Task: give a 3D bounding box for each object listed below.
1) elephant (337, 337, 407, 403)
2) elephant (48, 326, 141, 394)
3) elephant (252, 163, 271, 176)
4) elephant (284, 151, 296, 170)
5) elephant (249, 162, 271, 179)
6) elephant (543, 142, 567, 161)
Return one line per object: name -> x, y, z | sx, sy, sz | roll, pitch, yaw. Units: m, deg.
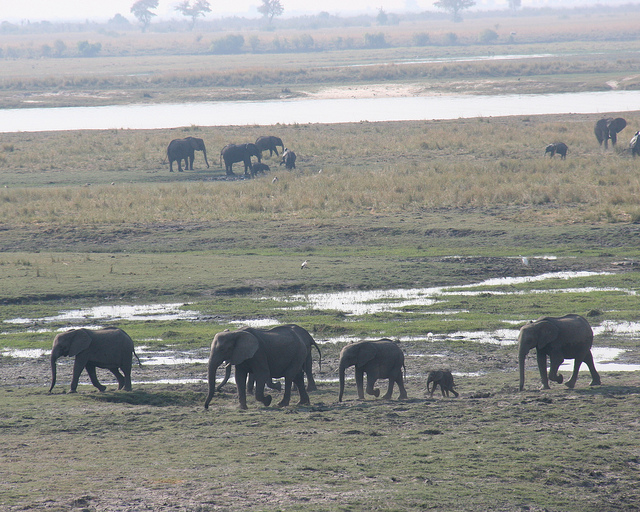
elephant -> 2.970, 5.870, 92.957 | 2.968, 3.439, 2.951 | -3, 10, 18
elephant -> -11.923, 5.340, 93.098 | 4.371, 3.858, 2.056 | -1, 6, -14
elephant -> -3.940, -5.798, 117.954 | 1.161, 0.679, 0.541 | -6, 18, -20
elephant -> -2.026, -6.359, 118.015 | 0.644, 1.058, 1.054 | -2, -1, -1
elephant -> -4.043, -5.779, 118.155 | 1.610, 0.961, 0.748 | -14, 16, -24
elephant -> 15.634, -6.953, 117.982 | 1.528, 1.049, 2.144 | -3, -1, 1
